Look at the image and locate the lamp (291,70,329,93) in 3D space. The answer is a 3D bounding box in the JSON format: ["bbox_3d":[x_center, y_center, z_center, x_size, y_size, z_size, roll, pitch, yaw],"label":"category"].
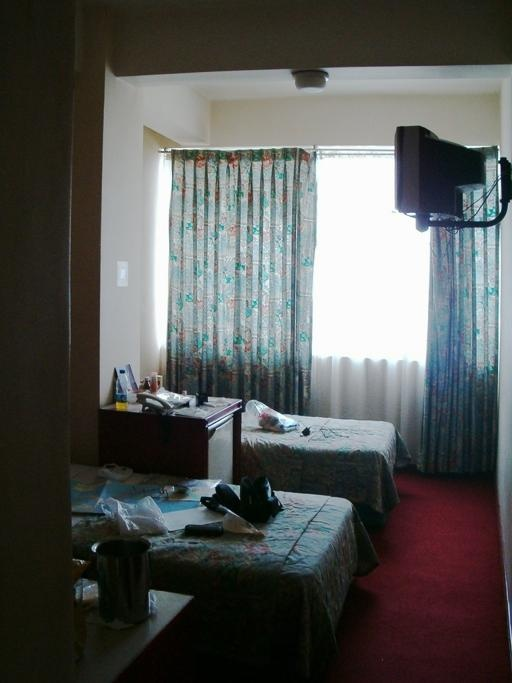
[{"bbox_3d":[0.277,-1.348,2.965,0.191,0.082,0.186,1,2,5],"label":"lamp"}]

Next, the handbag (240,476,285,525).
[{"bbox_3d":[0.017,0.641,2.348,0.097,0.089,0.190,0,8,8],"label":"handbag"}]

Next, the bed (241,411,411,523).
[{"bbox_3d":[0.429,0.741,3.550,0.643,0.225,0.696,2,9,17],"label":"bed"}]

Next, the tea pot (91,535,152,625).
[{"bbox_3d":[-0.321,0.633,1.538,0.135,0.198,0.180,-2,-5,2],"label":"tea pot"}]

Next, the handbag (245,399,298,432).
[{"bbox_3d":[0.107,0.587,3.968,0.300,0.141,0.186,31,11,-11],"label":"handbag"}]

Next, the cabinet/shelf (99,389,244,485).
[{"bbox_3d":[-0.453,0.437,3.087,0.556,0.506,0.606,3,-2,-3],"label":"cabinet/shelf"}]

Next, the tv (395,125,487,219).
[{"bbox_3d":[0.891,-0.774,2.877,0.367,0.464,0.431,0,4,7],"label":"tv"}]
